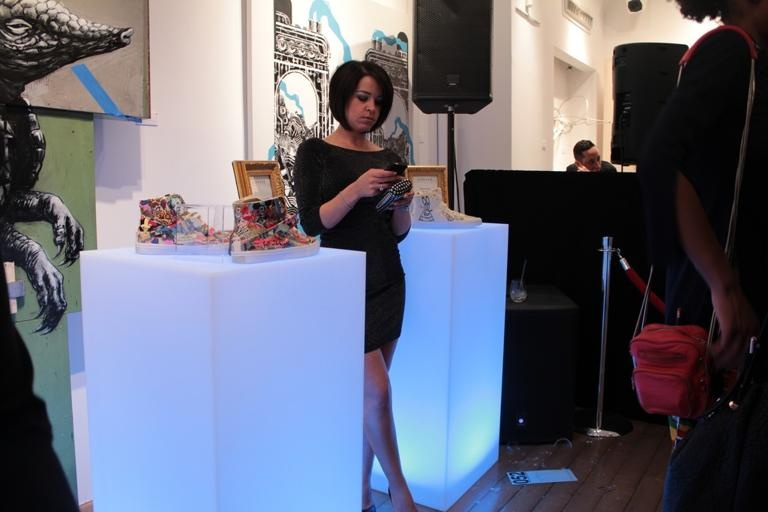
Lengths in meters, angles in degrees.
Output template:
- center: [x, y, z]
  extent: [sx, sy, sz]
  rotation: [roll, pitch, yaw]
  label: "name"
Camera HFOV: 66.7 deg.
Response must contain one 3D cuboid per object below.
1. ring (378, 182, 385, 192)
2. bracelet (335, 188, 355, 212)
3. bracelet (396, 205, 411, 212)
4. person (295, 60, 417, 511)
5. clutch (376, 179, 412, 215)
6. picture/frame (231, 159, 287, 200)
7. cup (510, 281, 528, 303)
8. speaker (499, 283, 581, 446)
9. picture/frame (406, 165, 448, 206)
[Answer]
- center: [-0.016, -0.260, 2.201]
  extent: [0.022, 0.023, 0.007]
  rotation: [-1, 27, -4]
  label: "ring"
- center: [-0.154, -0.220, 2.268]
  extent: [0.019, 0.076, 0.070]
  rotation: [-6, 11, 19]
  label: "bracelet"
- center: [0.072, -0.192, 2.404]
  extent: [0.033, 0.031, 0.027]
  rotation: [-1, 7, 7]
  label: "bracelet"
- center: [-0.119, 0.169, 2.487]
  extent: [0.503, 1.959, 0.526]
  rotation: [-2, 9, -10]
  label: "person"
- center: [0.029, -0.227, 2.278]
  extent: [0.068, 0.083, 0.200]
  rotation: [41, -10, -6]
  label: "clutch"
- center: [-0.490, -0.280, 2.324]
  extent: [0.165, 0.178, 0.025]
  rotation: [-1, -23, -16]
  label: "picture/frame"
- center: [0.796, 0.220, 3.550]
  extent: [0.115, 0.155, 0.115]
  rotation: [-2, 1, 0]
  label: "cup"
- center: [0.942, 0.774, 3.888]
  extent: [0.622, 1.147, 1.173]
  rotation: [1, 0, 14]
  label: "speaker"
- center: [0.198, -0.335, 2.842]
  extent: [0.226, 0.233, 0.023]
  rotation: [9, -18, -32]
  label: "picture/frame"
